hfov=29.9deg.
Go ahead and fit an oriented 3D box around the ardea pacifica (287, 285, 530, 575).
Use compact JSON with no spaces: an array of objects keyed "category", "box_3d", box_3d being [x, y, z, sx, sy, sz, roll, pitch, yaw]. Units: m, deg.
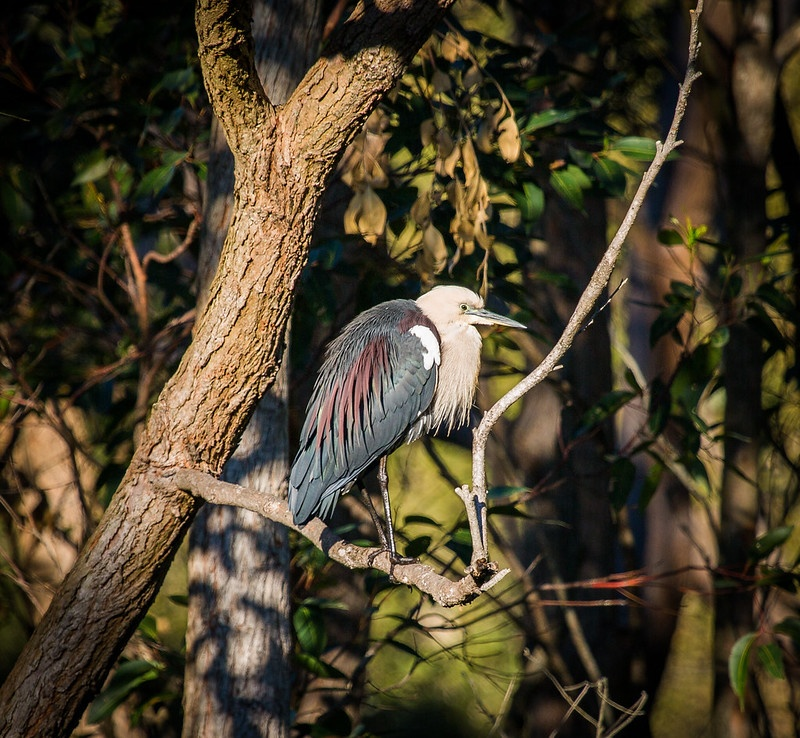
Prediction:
[{"category":"ardea pacifica","box_3d":[-0.037,0.223,7.533,0.900,1.590,0.734,15,-20,-6]}]
